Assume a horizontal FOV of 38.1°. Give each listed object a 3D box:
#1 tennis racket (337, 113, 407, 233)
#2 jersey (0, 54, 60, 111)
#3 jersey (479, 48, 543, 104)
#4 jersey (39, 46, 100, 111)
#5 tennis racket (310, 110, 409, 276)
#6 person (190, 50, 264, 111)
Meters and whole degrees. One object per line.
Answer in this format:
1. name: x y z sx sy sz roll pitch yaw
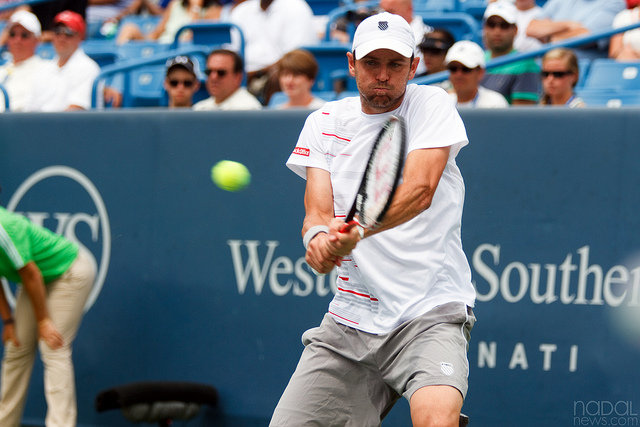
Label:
1. tennis racket: 0.385 -0.225 5.869 0.108 0.972 0.263 28 -11 -40
2. jersey: -2.932 -1.308 9.354 0.194 0.280 0.683 22 12 -47
3. jersey: 1.752 -1.220 8.540 0.740 0.557 0.417 5 8 37
4. jersey: -2.415 -1.286 8.857 0.591 0.559 0.693 -6 13 -13
5. tennis racket: 0.281 -0.107 5.949 0.083 0.424 1.074 12 47 30
6. person: -0.895 -1.226 8.609 0.738 0.649 0.469 -2 -10 18
